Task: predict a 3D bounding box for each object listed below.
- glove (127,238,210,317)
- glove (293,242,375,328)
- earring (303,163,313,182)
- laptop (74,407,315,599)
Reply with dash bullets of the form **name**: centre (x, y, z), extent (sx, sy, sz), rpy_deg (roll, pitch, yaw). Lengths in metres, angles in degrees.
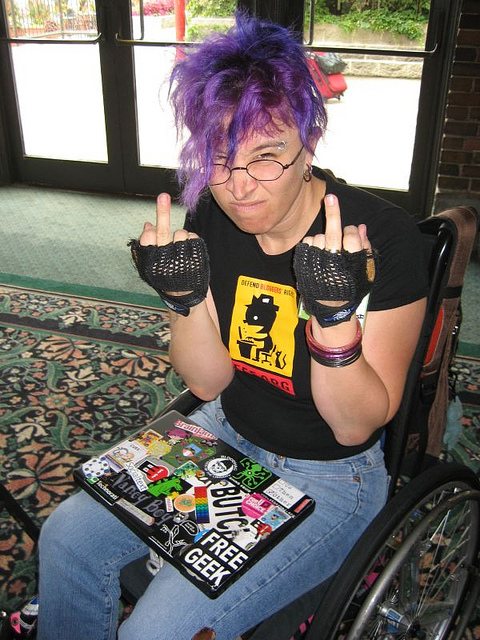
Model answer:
- **glove**: centre (-0.137, -0.073, 0.927), extent (0.100, 0.183, 0.154), rpy_deg (-19, 33, -30)
- **glove**: centre (0.127, -0.062, 0.662), extent (0.116, 0.110, 0.054), rpy_deg (6, 22, 10)
- **earring**: centre (0.128, -0.277, 0.922), extent (0.013, 0.034, 0.026), rpy_deg (4, 12, 19)
- **laptop**: centre (-0.086, 0.299, 0.870), extent (0.354, 0.042, 0.247), rpy_deg (26, 38, 37)
